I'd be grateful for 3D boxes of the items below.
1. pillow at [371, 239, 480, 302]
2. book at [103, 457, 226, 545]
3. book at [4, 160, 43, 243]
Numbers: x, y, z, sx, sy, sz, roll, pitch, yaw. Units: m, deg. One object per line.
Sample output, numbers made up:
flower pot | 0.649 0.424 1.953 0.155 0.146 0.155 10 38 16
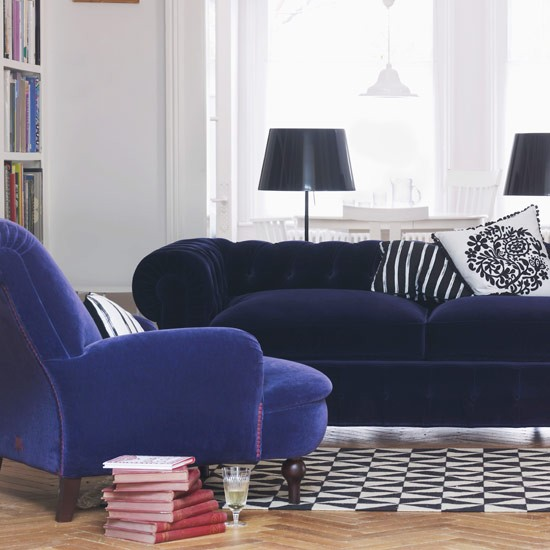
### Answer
pillow | 0.676 -0.002 3.367 0.359 0.306 0.102 -2 -31 4
book | -0.301 0.571 1.891 0.253 0.151 0.256 -2 -4 25
book | -1.384 -0.423 3.829 0.121 0.367 0.272 3 7 8
